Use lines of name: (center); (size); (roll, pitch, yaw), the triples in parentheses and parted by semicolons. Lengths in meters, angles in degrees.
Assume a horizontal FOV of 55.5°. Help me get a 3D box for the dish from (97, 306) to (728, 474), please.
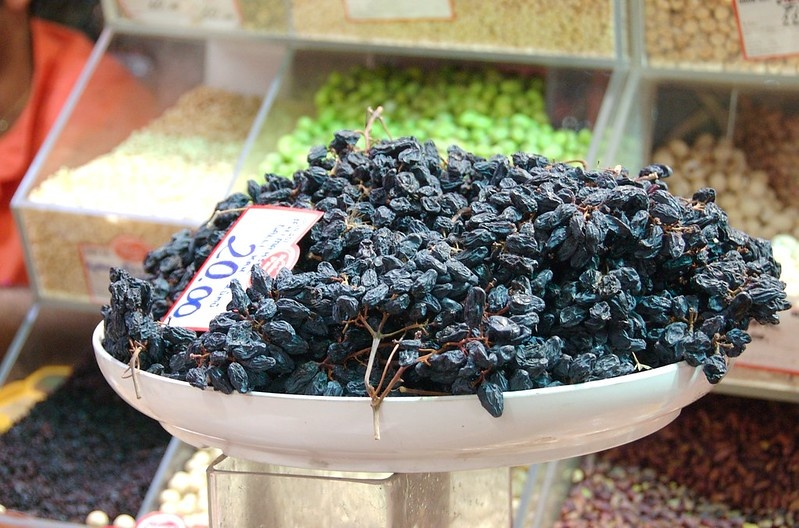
dish: (-0.110, 0.337, 1.713); (0.955, 0.952, 0.133); (-6, 70, 17)
